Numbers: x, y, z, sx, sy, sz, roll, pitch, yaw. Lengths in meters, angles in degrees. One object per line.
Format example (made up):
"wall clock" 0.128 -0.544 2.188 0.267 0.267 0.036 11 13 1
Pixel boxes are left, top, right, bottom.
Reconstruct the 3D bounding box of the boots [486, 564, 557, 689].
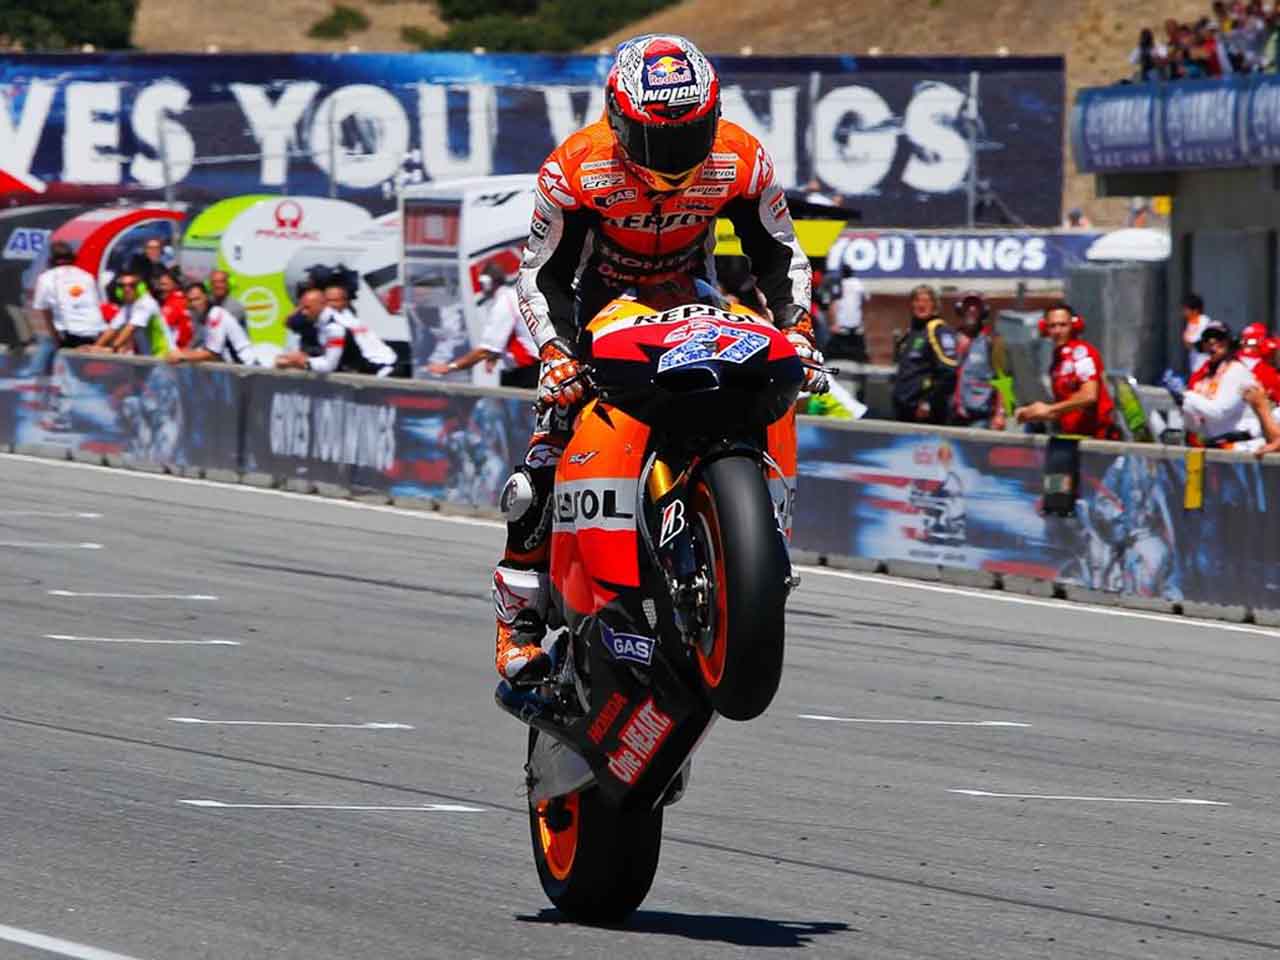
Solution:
"boots" -0.706 0.883 16.347 0.353 0.400 0.746 4 -35 -21

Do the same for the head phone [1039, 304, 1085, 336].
"head phone" 3.512 -1.298 22.641 0.282 0.253 0.405 0 3 6

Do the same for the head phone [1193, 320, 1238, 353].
"head phone" 4.853 -1.148 22.855 0.298 0.263 0.501 1 3 13
